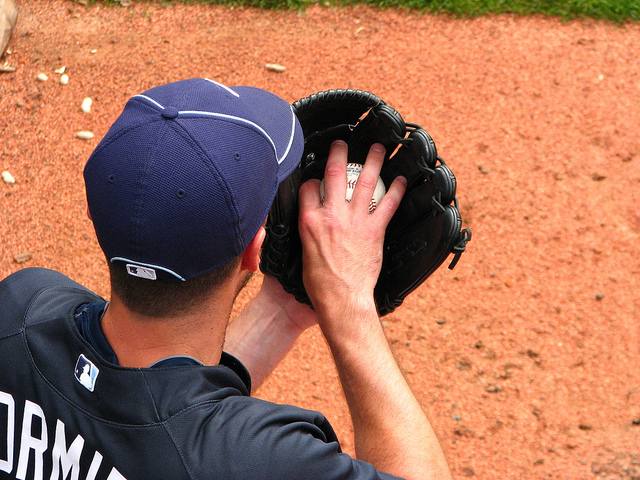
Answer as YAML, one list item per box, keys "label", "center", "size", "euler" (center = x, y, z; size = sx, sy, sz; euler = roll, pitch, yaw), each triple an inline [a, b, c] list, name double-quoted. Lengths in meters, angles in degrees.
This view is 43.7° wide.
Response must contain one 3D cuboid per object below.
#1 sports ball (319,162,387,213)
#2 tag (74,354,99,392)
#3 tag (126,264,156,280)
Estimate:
- label: "sports ball"
  center: [0.185, -0.268, 3.487]
  size: [0.256, 0.146, 0.273]
  euler: [0, 79, 2]
- label: "tag"
  center: [-0.886, 0.571, 3.026]
  size: [0.107, 0.017, 0.121]
  euler: [29, 94, 19]
- label: "tag"
  center: [-0.680, 0.140, 3.006]
  size: [0.096, 0.025, 0.060]
  euler: [13, 17, -6]
